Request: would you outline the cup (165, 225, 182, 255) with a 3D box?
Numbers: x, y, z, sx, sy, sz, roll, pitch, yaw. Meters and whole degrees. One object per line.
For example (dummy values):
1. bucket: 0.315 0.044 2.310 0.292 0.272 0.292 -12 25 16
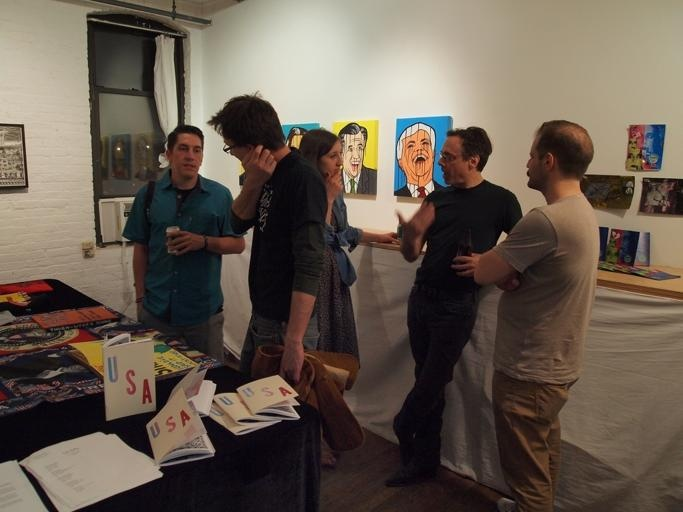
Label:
1. cup: -0.958 -0.089 2.650 0.086 0.154 0.068 6 12 28
